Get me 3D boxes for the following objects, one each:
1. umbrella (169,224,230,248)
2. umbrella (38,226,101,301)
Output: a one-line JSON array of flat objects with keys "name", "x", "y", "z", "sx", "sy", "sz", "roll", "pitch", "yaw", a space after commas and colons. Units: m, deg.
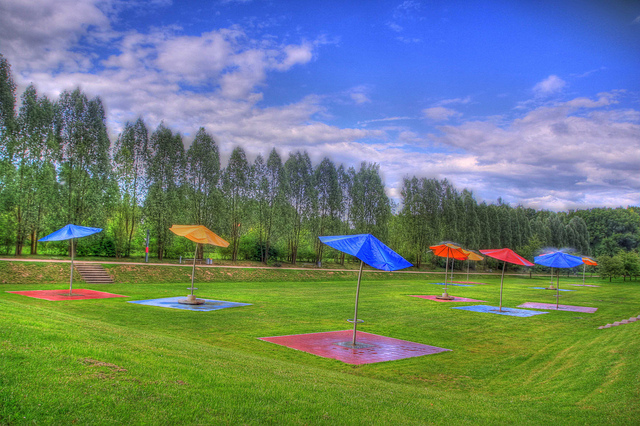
[{"name": "umbrella", "x": -7.339, "y": 1.341, "z": 28.165, "sx": 2.164, "sy": 1.936, "sz": 4.699, "roll": -2, "pitch": -3, "yaw": -2}, {"name": "umbrella", "x": -15.807, "y": 3.094, "z": 28.948, "sx": 3.524, "sy": 4.508, "sz": 3.530, "roll": 0, "pitch": 1, "yaw": 11}]
